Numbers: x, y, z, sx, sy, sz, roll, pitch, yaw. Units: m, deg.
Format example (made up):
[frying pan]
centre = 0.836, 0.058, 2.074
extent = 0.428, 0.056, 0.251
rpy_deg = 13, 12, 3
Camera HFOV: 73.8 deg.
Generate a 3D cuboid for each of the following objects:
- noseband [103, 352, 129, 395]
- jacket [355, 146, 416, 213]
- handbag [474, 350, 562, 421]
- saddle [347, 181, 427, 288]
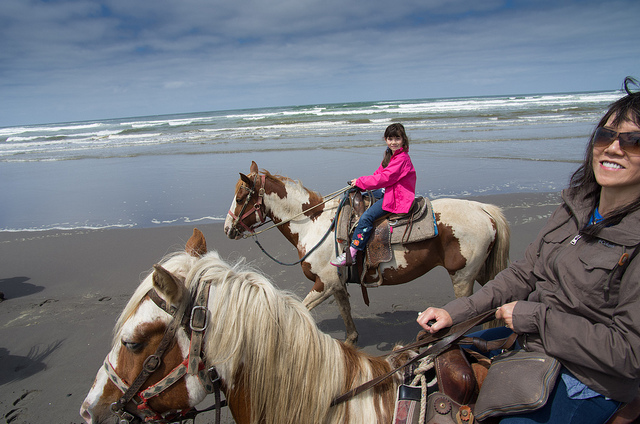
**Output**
[noseband]
centre = -1.600, 1.273, 3.324
extent = 0.071, 0.279, 0.206
rpy_deg = -38, 5, -23
[jacket]
centre = 0.864, -0.455, 6.288
extent = 0.984, 0.940, 0.771
rpy_deg = 4, 9, 6
[handbag]
centre = 1.518, 1.322, 3.274
extent = 0.568, 0.548, 0.169
rpy_deg = 10, -18, 34
[saddle]
centre = 1.558, 0.417, 6.150
extent = 2.244, 1.323, 0.660
rpy_deg = 1, 15, 6
